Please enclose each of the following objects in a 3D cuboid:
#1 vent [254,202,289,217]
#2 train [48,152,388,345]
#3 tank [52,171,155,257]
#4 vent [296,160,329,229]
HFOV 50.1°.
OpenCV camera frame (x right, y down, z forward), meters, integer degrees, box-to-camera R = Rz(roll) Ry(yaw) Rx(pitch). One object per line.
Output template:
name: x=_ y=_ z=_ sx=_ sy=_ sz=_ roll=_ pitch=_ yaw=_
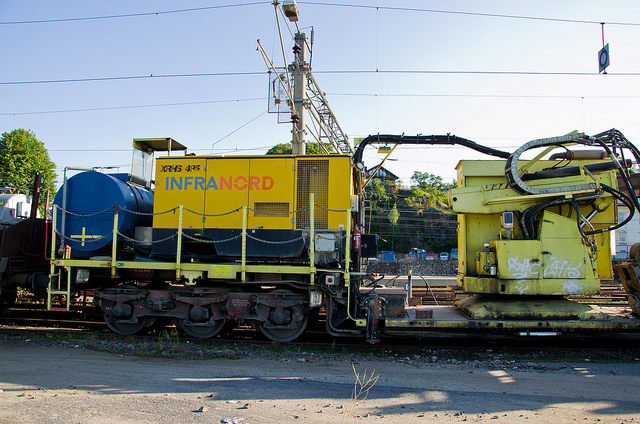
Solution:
vent: x=-1.438 y=-0.141 z=20.433 sx=0.621 sy=0.558 sz=0.140 roll=-1 pitch=-2 yaw=0
train: x=-3.084 y=1.067 z=21.552 sx=10.483 sy=5.295 sz=4.055 roll=0 pitch=-1 yaw=11
tank: x=-6.538 y=0.095 z=22.241 sx=2.502 sy=2.974 sz=3.652 roll=0 pitch=-5 yaw=17
vent: x=-0.230 y=-0.533 z=20.188 sx=0.940 sy=2.062 sz=0.208 roll=2 pitch=-5 yaw=-3
